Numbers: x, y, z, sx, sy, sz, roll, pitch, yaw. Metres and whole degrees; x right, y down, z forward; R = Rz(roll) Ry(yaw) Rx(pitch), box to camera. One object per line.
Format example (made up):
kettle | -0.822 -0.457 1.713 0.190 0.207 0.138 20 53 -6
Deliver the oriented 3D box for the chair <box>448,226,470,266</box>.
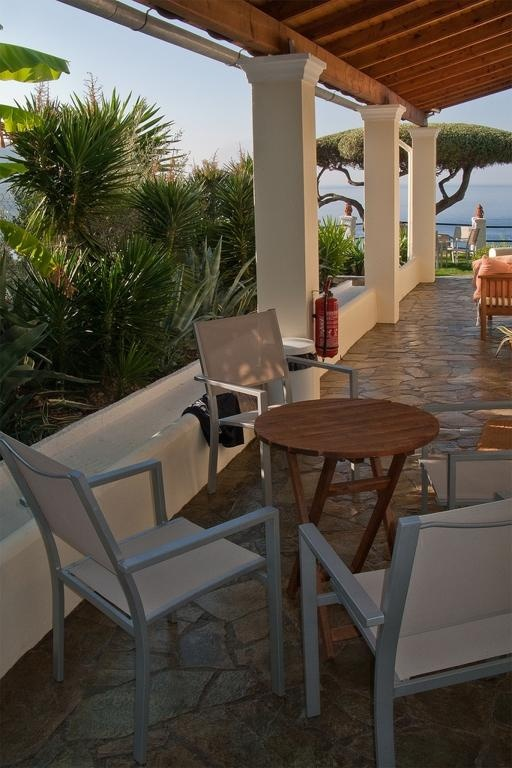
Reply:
chair | 6.154 -4.253 16.875 0.564 1.192 2.534 0 10 19

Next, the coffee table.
coffee table | 0.347 0.426 2.090 0.692 0.820 0.723 -10 23 -21

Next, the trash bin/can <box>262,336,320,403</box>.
trash bin/can | 0.113 -0.086 3.970 0.411 0.696 0.423 0 12 10

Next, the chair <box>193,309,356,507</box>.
chair | -0.051 0.069 3.318 0.820 1.084 0.831 16 17 40
